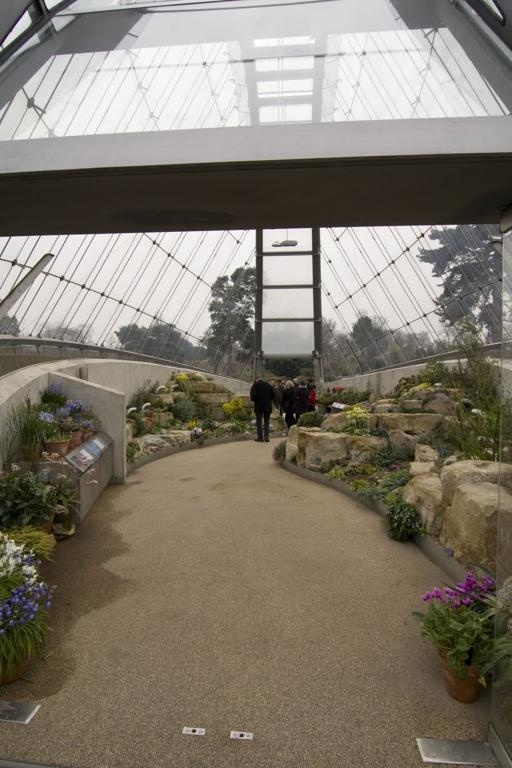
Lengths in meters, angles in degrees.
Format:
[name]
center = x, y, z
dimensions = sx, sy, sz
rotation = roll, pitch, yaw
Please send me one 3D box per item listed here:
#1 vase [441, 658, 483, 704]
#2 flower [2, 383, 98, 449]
[vase]
center = 1.189, 1.742, 2.816
dimensions = 0.223, 0.198, 0.239
rotation = -2, 3, -9
[flower]
center = -2.693, 0.369, 6.200
dimensions = 0.659, 0.562, 0.966
rotation = 1, 8, -8
